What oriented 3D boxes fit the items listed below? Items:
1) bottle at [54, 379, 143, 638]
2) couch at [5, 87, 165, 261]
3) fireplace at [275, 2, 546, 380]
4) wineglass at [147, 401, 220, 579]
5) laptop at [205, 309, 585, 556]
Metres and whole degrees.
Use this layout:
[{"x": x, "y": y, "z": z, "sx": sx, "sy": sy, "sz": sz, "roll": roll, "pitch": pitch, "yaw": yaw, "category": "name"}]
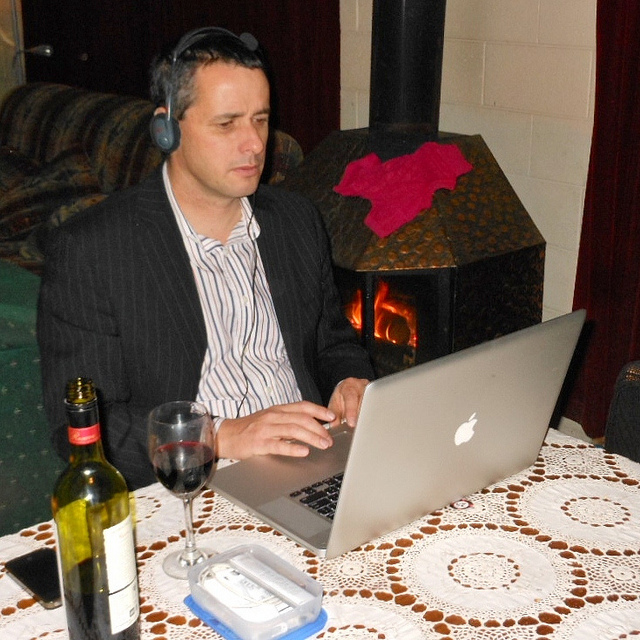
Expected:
[{"x": -0.210, "y": 0.216, "z": 0.584, "sx": 0.066, "sy": 0.201, "sz": 0.090, "roll": -6, "pitch": 15, "yaw": -25, "category": "bottle"}, {"x": -0.968, "y": -0.615, "z": 2.521, "sx": 0.468, "sy": 0.503, "sz": 1.085, "roll": 1, "pitch": 21, "yaw": -24, "category": "couch"}, {"x": 0.344, "y": -0.485, "z": 2.284, "sx": 0.956, "sy": 1.327, "sz": 0.620, "roll": 6, "pitch": 14, "yaw": 21, "category": "fireplace"}, {"x": -0.168, "y": 0.213, "z": 0.783, "sx": 0.077, "sy": 0.211, "sz": 0.075, "roll": -7, "pitch": 11, "yaw": -23, "category": "wineglass"}, {"x": 0.108, "y": 0.129, "z": 0.835, "sx": 0.402, "sy": 0.257, "sz": 0.355, "roll": -17, "pitch": 25, "yaw": -38, "category": "laptop"}]
